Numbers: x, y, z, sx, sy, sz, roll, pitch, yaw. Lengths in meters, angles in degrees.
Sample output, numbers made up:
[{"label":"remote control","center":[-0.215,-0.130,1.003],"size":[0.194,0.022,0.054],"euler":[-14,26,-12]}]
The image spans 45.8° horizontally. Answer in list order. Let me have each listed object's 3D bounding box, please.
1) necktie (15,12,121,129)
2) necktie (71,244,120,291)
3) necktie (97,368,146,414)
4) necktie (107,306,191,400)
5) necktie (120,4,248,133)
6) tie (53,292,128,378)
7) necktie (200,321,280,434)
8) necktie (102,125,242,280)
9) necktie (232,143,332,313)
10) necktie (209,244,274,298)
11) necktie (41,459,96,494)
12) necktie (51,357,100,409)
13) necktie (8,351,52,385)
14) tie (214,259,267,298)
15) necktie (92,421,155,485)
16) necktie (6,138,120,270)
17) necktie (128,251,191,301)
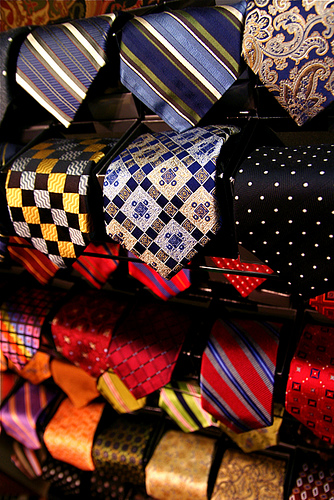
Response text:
[{"label":"necktie","center":[-0.169,-0.306,0.756],"size":[0.191,0.177,0.051],"euler":[37,8,12]},{"label":"necktie","center":[-0.152,0.022,0.916],"size":[0.102,0.027,0.110],"euler":[11,56,-5]},{"label":"necktie","center":[-0.098,0.350,0.986],"size":[0.115,0.117,0.035],"euler":[13,56,44]},{"label":"necktie","center":[-0.047,0.244,0.897],"size":[0.203,0.192,0.050],"euler":[-1,8,-33]},{"label":"necktie","center":[0.021,-0.288,0.631],"size":[0.201,0.169,0.085],"euler":[17,41,18]},{"label":"tie","center":[-0.163,0.200,1.001],"size":[0.172,0.125,0.178],"euler":[-16,42,42]},{"label":"necktie","center":[0.151,0.269,0.835],"size":[0.171,0.204,0.136],"euler":[15,40,16]},{"label":"necktie","center":[-0.007,-0.068,0.613],"size":[0.180,0.204,0.110],"euler":[6,39,6]},{"label":"necktie","center":[0.178,-0.049,0.564],"size":[0.158,0.192,0.125],"euler":[17,41,18]},{"label":"necktie","center":[0.120,0.027,0.654],"size":[0.081,0.004,0.095],"euler":[29,25,37]},{"label":"necktie","center":[-0.278,0.623,1.098],"size":[0.132,0.040,0.102],"euler":[14,51,-11]},{"label":"necktie","center":[-0.230,0.334,1.038],"size":[0.104,0.139,0.038],"euler":[-30,6,16]},{"label":"necktie","center":[-0.366,0.330,1.053],"size":[0.099,0.099,0.026],"euler":[45,37,-16]},{"label":"tie","center":[0.142,0.053,0.747],"size":[0.116,0.118,0.006],"euler":[13,52,43]},{"label":"necktie","center":[-0.116,0.503,1.011],"size":[0.151,0.104,0.121],"euler":[9,39,9]},{"label":"necktie","center":[-0.178,-0.073,0.735],"size":[0.174,0.236,0.071],"euler":[34,19,12]},{"label":"necktie","center":[-0.012,0.055,0.844],"size":[0.111,0.109,0.034],"euler":[53,50,-9]}]
